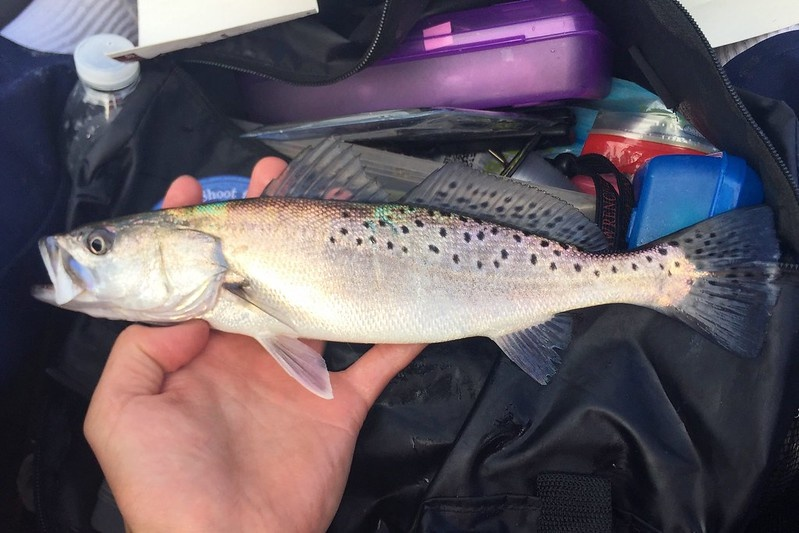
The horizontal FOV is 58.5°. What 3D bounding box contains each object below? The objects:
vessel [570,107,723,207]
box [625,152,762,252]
[{"bbox_3d":[0.802,-0.400,2.364,0.302,0.224,0.274,22,106,44],"label":"vessel"},{"bbox_3d":[0.835,-0.134,2.059,0.271,0.256,0.373,-2,52,32],"label":"box"}]
